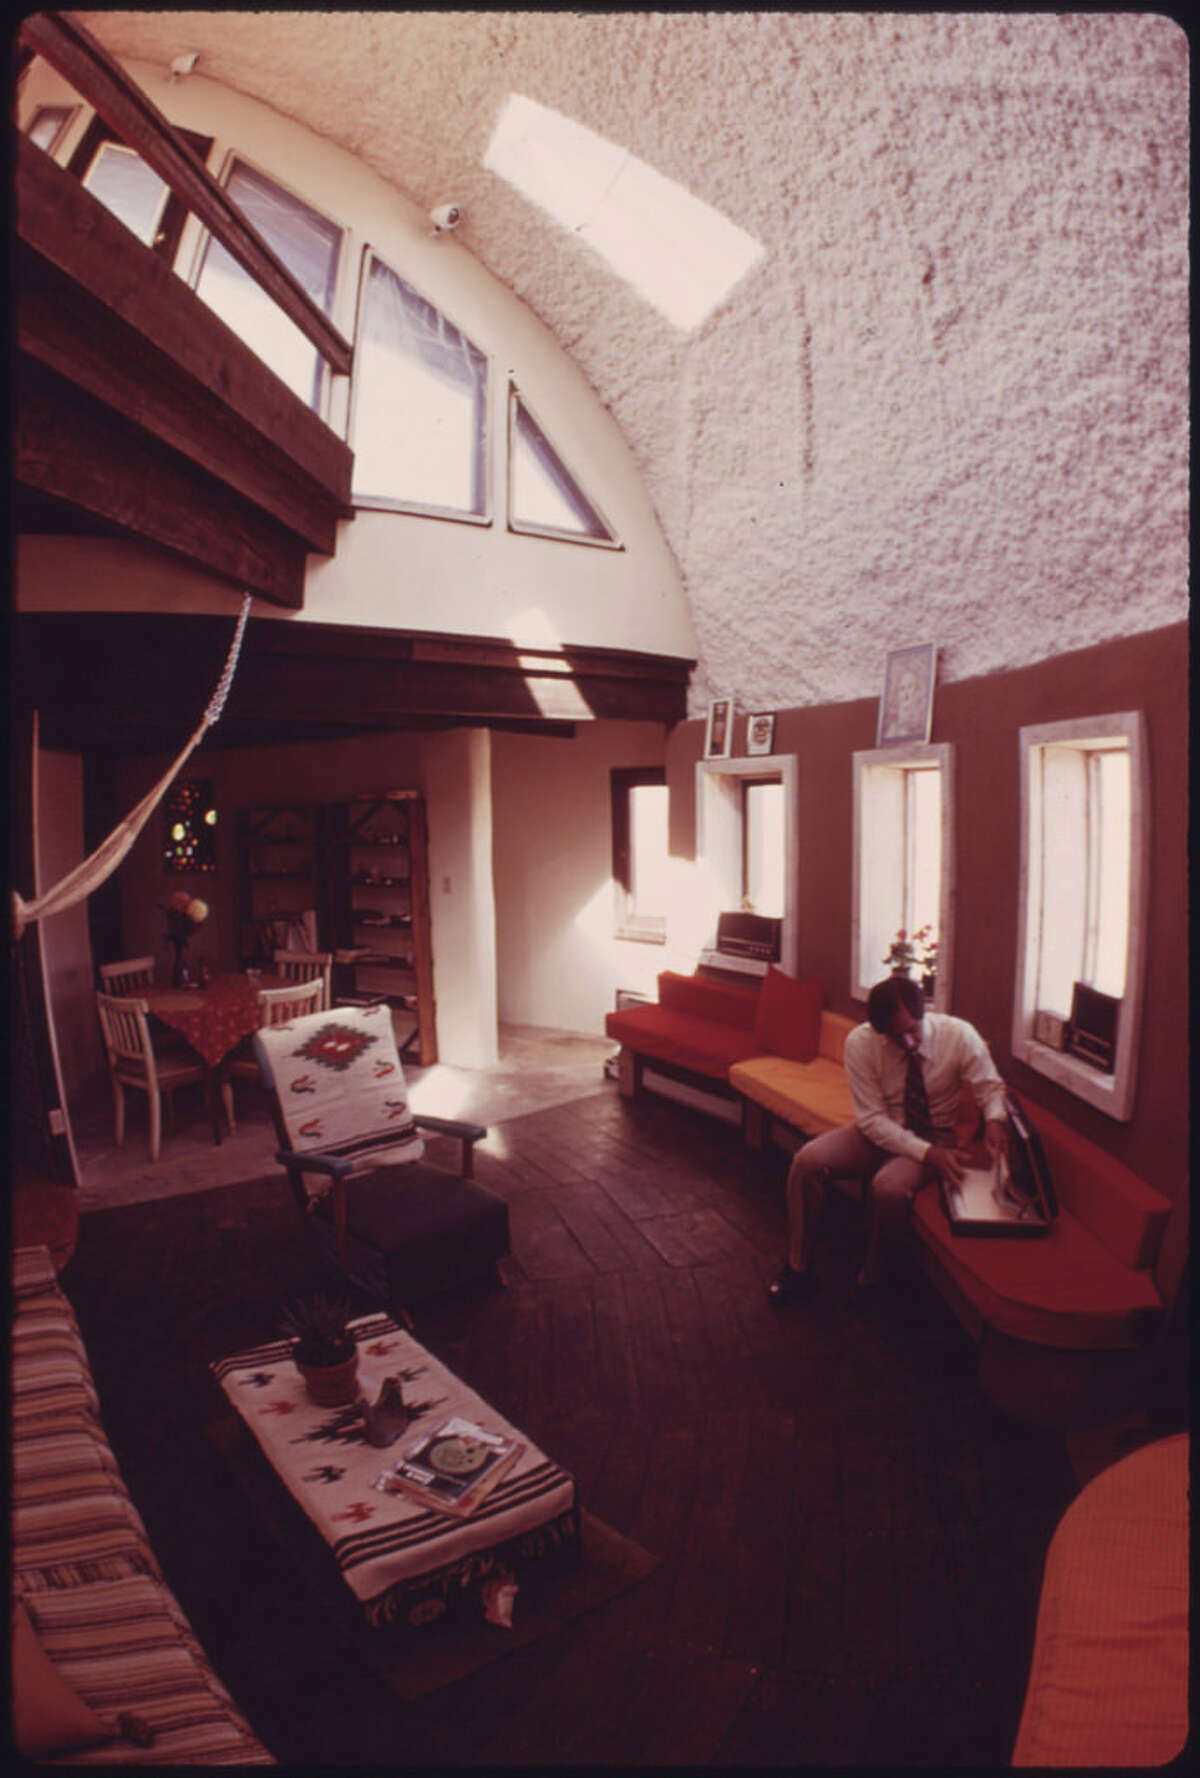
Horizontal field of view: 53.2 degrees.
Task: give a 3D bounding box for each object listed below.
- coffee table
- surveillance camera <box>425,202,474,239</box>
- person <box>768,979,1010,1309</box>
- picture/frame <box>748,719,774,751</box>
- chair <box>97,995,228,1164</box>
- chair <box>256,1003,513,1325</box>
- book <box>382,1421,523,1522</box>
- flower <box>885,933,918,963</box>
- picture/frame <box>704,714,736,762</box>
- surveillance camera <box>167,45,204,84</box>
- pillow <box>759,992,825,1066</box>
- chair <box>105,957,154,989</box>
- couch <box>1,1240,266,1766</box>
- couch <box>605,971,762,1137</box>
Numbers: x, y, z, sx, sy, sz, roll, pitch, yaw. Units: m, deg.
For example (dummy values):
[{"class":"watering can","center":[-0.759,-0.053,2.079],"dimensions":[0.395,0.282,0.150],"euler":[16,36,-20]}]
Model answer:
[{"class":"coffee table","center":[-0.504,1.204,2.644],"dimensions":[0.409,0.187,0.742],"euler":[-6,20,-34]},{"class":"surveillance camera","center":[-0.708,-3.074,5.523],"dimensions":[0.151,0.119,0.154],"euler":[31,32,5]},{"class":"person","center":[0.939,0.803,3.792],"dimensions":[0.728,1.027,0.543],"euler":[3,6,-33]},{"class":"picture/frame","center":[0.819,-0.765,6.009],"dimensions":[0.019,0.206,0.153],"euler":[-3,6,-36]},{"class":"chair","center":[-2.137,0.810,5.637],"dimensions":[0.484,0.838,0.494],"euler":[-1,10,-30]},{"class":"chair","center":[-0.727,0.873,3.985],"dimensions":[0.808,0.853,0.618],"euler":[0,7,37]},{"class":"book","center":[-0.311,1.216,2.529],"dimensions":[0.225,0.035,0.253],"euler":[4,11,29]},{"class":"flower","center":[1.281,0.275,5.051],"dimensions":[0.099,0.063,0.135],"euler":[4,32,25]},{"class":"picture/frame","center":[0.654,-0.831,6.391],"dimensions":[0.101,0.311,0.267],"euler":[-5,10,-24]},{"class":"surveillance camera","center":[-1.716,-3.353,4.901],"dimensions":[0.079,0.107,0.094],"euler":[5,51,-10]},{"class":"pillow","center":[0.864,0.630,5.299],"dimensions":[0.094,0.274,0.271],"euler":[20,-12,-35]},{"class":"chair","center":[-2.590,0.471,6.545],"dimensions":[0.180,0.293,0.176],"euler":[5,7,28]},{"class":"couch","center":[-0.971,1.265,2.482],"dimensions":[0.344,0.220,1.003],"euler":[-1,22,-30]},{"class":"couch","center":[0.477,0.777,5.980],"dimensions":[0.582,0.496,1.015],"euler":[-17,11,-35]}]
